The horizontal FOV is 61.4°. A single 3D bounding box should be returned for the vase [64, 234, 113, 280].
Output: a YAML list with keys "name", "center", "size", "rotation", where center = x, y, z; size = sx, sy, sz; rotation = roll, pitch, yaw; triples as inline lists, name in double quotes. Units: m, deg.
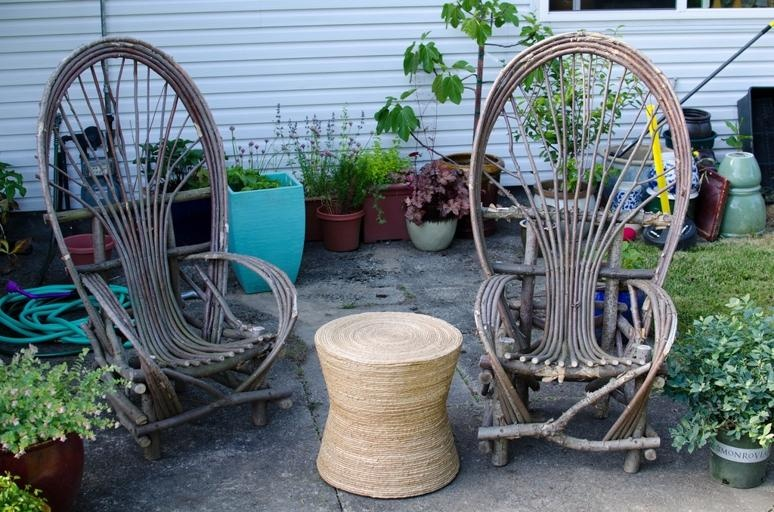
- name: "vase"
  center: [-2.142, -0.006, 4.651]
  size: [0.400, 0.238, 0.385]
  rotation: [-4, 11, -27]

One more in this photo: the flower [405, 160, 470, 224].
- name: "flower"
  center: [0.404, -0.505, 5.289]
  size: [0.517, 0.457, 0.353]
  rotation: [-4, 16, 1]

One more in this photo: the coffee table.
- name: "coffee table"
  center: [0.029, 0.692, 3.253]
  size: [0.739, 0.665, 0.749]
  rotation: [1, 17, 2]

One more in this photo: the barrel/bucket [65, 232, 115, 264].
- name: "barrel/bucket"
  center: [-1.842, -0.044, 4.040]
  size: [0.246, 0.118, 0.243]
  rotation: [0, 6, 0]

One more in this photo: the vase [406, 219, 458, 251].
- name: "vase"
  center: [0.378, -0.212, 5.515]
  size: [0.457, 0.302, 0.435]
  rotation: [-1, 16, -5]
